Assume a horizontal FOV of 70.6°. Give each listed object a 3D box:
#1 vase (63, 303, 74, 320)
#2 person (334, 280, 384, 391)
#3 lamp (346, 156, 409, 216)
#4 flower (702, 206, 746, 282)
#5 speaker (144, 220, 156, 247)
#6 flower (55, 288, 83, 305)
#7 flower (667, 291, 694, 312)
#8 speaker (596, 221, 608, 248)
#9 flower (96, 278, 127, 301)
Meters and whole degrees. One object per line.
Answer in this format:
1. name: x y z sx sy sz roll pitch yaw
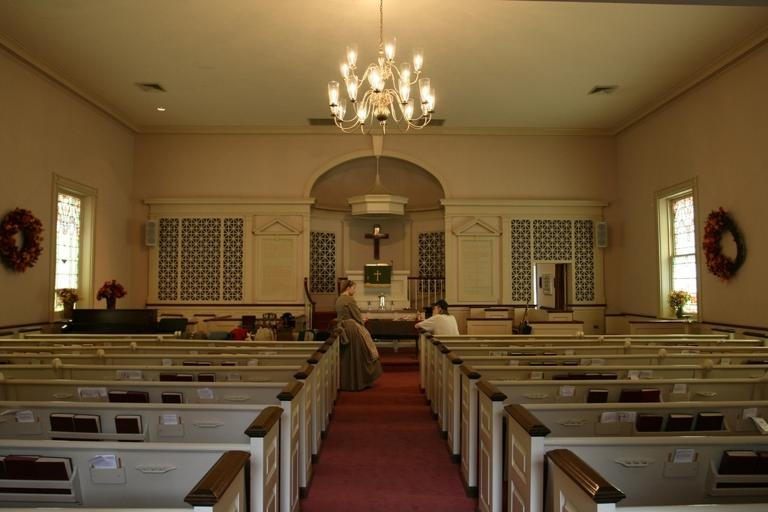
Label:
1. vase: -6.769 1.173 11.658 0.187 0.346 0.598 -5 11 -35
2. person: -0.460 1.458 9.659 0.819 1.904 0.693 1 9 -5
3. lamp: -0.155 -1.919 15.466 1.708 1.646 1.568 0 -2 2
4. flower: 6.588 -0.235 10.555 0.358 1.407 0.798 1 9 -4
5. speaker: -6.056 -0.579 14.172 0.285 0.692 0.228 -2 10 -21
6. flower: -6.825 0.871 11.726 0.367 0.246 0.349 8 -8 -39
7. flower: 6.484 0.993 11.911 0.479 0.478 0.466 0 -6 -3
8. speaker: 5.792 -0.559 14.431 0.400 0.688 0.182 -4 11 -34
9. flower: -6.231 0.819 12.461 0.557 0.576 0.543 -8 -10 36
